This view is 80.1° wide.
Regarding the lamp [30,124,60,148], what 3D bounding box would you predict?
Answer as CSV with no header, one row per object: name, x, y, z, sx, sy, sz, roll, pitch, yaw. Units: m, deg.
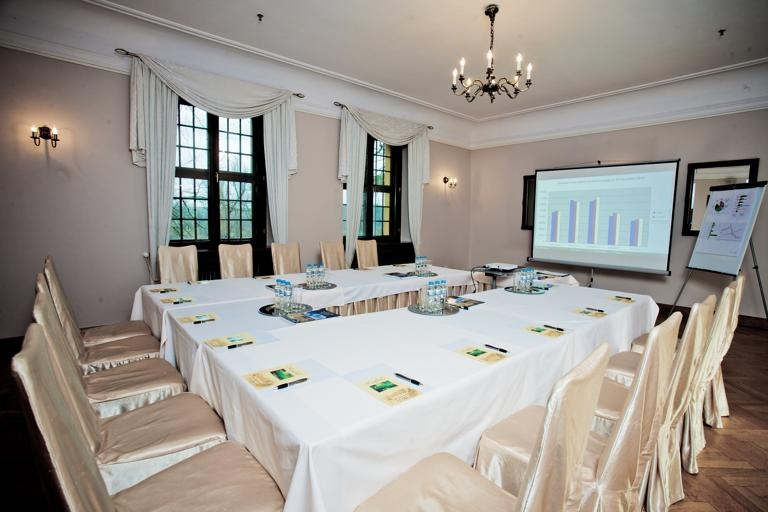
lamp,-4.104,-1.408,5.376,0.093,0.256,0.282,14,13,41

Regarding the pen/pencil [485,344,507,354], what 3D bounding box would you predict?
pen/pencil,0.813,0.675,3.313,0.025,0.026,0.125,22,-8,-43

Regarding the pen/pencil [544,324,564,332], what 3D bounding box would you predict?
pen/pencil,1.363,0.577,3.645,0.026,0.024,0.157,-12,11,-39

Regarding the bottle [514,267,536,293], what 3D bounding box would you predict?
bottle,1.488,0.250,4.780,0.244,0.273,0.247,1,1,35

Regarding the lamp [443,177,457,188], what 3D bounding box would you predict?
lamp,1.316,-1.498,9.303,0.079,0.121,0.281,0,-1,39

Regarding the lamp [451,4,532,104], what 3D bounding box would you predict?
lamp,1.389,-2.649,5.914,0.963,1.233,0.980,6,8,43
